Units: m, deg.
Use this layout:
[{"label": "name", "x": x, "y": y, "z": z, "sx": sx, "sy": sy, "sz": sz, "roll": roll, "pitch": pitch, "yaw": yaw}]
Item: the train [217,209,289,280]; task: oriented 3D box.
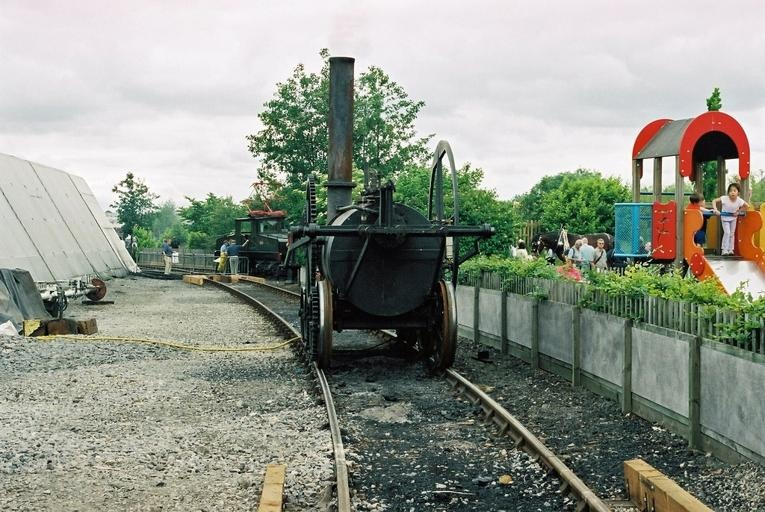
[{"label": "train", "x": -7.160, "y": -0.752, "z": 43.378, "sx": 2.437, "sy": 3.605, "sz": 6.858, "roll": -7, "pitch": 5, "yaw": -38}]

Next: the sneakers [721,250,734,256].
[{"label": "sneakers", "x": 7.858, "y": -0.087, "z": 16.108, "sx": 0.287, "sy": 0.125, "sz": 0.099, "roll": -3, "pitch": -2, "yaw": 35}]

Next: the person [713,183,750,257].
[{"label": "person", "x": 7.904, "y": -0.859, "z": 16.252, "sx": 0.756, "sy": 1.644, "sz": 0.502, "roll": -5, "pitch": 7, "yaw": -21}]

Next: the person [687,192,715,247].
[{"label": "person", "x": 7.349, "y": -0.807, "z": 16.322, "sx": 0.470, "sy": 1.308, "sz": 1.940, "roll": 1, "pitch": 7, "yaw": 27}]
